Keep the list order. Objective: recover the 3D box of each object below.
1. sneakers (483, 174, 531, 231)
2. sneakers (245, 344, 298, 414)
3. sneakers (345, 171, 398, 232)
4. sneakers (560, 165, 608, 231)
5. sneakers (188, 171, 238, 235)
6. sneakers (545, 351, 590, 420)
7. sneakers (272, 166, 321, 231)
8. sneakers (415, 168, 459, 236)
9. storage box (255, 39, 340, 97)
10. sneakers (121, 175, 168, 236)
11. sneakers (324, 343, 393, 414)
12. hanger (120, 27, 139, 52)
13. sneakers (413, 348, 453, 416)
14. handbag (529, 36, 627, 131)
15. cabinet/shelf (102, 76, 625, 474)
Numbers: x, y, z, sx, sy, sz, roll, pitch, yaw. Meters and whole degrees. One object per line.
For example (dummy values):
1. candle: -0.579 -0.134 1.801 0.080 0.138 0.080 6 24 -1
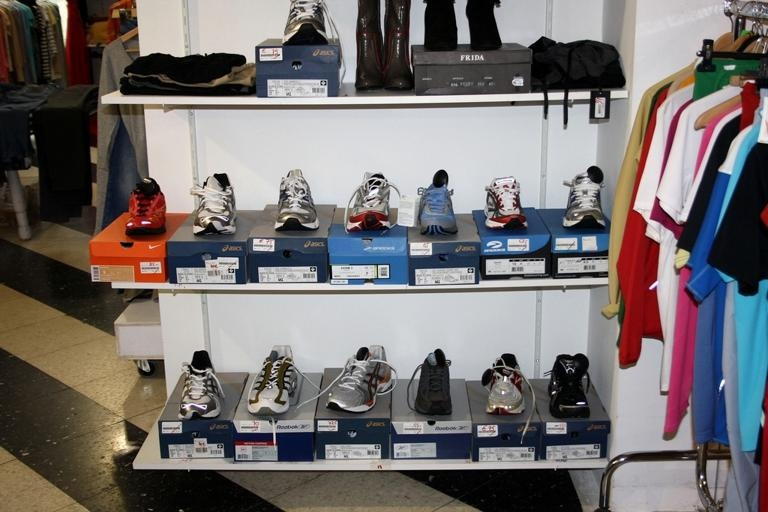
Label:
1. sneakers: 0.503 -0.228 2.633 0.168 0.176 0.400 -1 17 0
2. sneakers: -0.479 0.533 2.695 0.119 0.134 0.326 3 16 1
3. sneakers: -0.040 -0.224 2.651 0.171 0.189 0.447 5 14 1
4. sneakers: 0.825 -0.251 2.614 0.185 0.222 0.404 1 16 14
5. sneakers: -0.705 -0.224 2.629 0.187 0.180 0.421 0 24 -10
6. sneakers: 0.774 0.551 2.648 0.114 0.154 0.324 -1 5 5
7. sneakers: -0.363 -0.202 2.531 0.126 0.123 0.293 0 21 -3
8. sneakers: 0.230 -0.207 2.566 0.127 0.127 0.302 0 33 3
9. storage box: -0.332 -0.700 2.400 0.238 0.137 0.241 0 22 0
10. sneakers: -0.959 -0.185 2.548 0.116 0.135 0.298 0 13 -6
11. sneakers: -0.102 0.526 2.727 0.195 0.187 0.448 6 12 19
12. hanger: -1.255 -1.043 3.082 0.082 0.110 0.131 -14 19 -35
13. sneakers: 0.203 0.554 2.643 0.109 0.127 0.275 0 6 3
14. handbag: 0.749 -0.672 2.535 0.356 0.125 0.352 -6 30 -6
15. cabinet/shelf: -0.016 0.066 2.647 1.745 1.241 0.570 0 16 2
